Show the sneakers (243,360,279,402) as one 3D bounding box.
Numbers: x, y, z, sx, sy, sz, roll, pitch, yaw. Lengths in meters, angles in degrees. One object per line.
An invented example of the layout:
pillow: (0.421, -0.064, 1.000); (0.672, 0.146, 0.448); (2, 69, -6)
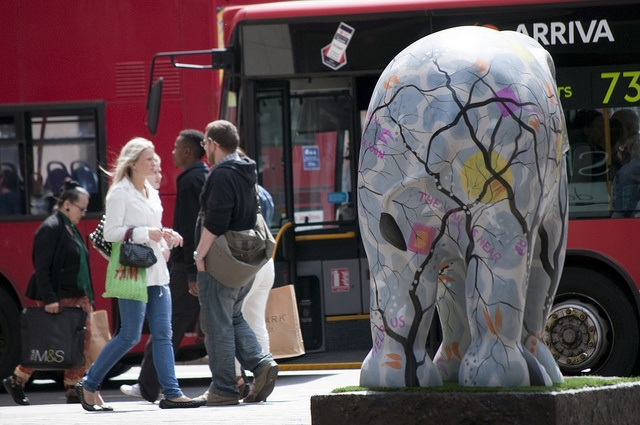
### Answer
sneakers: (-0.565, 1.688, 12.720); (0.218, 0.584, 0.182); (20, 1, 30)

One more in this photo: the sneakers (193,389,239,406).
sneakers: (-1.010, 1.822, 12.558); (0.359, 0.186, 0.142); (3, -4, 0)

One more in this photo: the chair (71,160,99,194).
chair: (-2.796, -0.439, 14.959); (0.351, 0.453, 0.224); (-1, 0, 16)

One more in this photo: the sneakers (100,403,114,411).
sneakers: (-2.173, 1.972, 12.845); (0.139, 0.062, 0.058); (-3, -7, 22)

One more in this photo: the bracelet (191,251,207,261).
bracelet: (-1.187, 0.422, 12.439); (0.104, 0.072, 0.115); (1, -1, 3)

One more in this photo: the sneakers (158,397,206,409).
sneakers: (-1.378, 1.897, 12.672); (0.471, 0.156, 0.173); (-4, -8, 10)

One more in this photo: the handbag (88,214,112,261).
handbag: (-2.341, 0.292, 13.140); (0.284, 0.476, 0.441); (-6, 3, -16)

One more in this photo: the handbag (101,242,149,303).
handbag: (-1.944, 0.560, 12.637); (0.482, 0.671, 0.162); (6, 32, -5)

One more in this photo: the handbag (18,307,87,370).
handbag: (-2.939, 1.431, 13.822); (0.715, 0.795, 0.396); (0, -24, -4)

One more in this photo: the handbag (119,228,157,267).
handbag: (-1.793, 0.318, 12.607); (0.326, 0.238, 0.429); (4, -39, 13)
